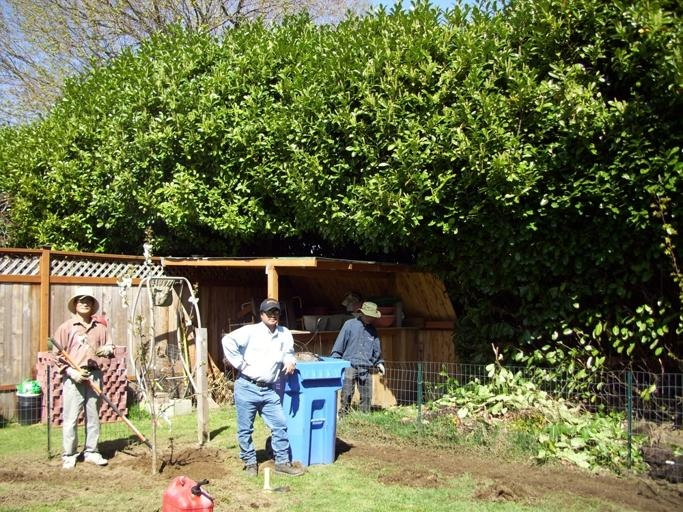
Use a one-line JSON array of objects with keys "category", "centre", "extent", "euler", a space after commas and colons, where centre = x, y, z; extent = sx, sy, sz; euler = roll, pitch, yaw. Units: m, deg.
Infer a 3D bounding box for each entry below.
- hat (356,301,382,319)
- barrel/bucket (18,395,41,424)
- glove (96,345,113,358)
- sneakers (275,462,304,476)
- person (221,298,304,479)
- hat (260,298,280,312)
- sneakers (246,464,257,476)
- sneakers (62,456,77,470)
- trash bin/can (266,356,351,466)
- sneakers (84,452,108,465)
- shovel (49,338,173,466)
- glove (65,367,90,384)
[{"category": "hat", "centre": [0.488, 0.937, 12.390], "extent": [0.288, 0.317, 0.562], "euler": [0, 7, -2]}, {"category": "barrel/bucket", "centre": [-5.377, 2.637, 12.111], "extent": [0.447, 0.467, 0.443], "euler": [1, -4, 0]}, {"category": "glove", "centre": [-3.345, 1.340, 9.924], "extent": [0.180, 0.141, 0.172], "euler": [-2, -3, -4]}, {"category": "sneakers", "centre": [-0.710, 2.907, 9.617], "extent": [0.383, 0.179, 0.171], "euler": [1, 0, -1]}, {"category": "person", "centre": [-1.096, 1.786, 9.523], "extent": [0.957, 2.342, 0.455], "euler": [-1, 7, -10]}, {"category": "hat", "centre": [-0.999, 0.691, 9.654], "extent": [0.220, 0.186, 0.372], "euler": [9, -15, -8]}, {"category": "sneakers", "centre": [-1.217, 2.875, 9.472], "extent": [0.162, 0.134, 0.175], "euler": [0, 7, -2]}, {"category": "sneakers", "centre": [-3.794, 2.859, 9.784], "extent": [0.187, 0.166, 0.325], "euler": [-3, 7, -22]}, {"category": "trash bin/can", "centre": [-0.399, 2.213, 9.925], "extent": [1.230, 1.935, 1.257], "euler": [4, -8, -24]}, {"category": "sneakers", "centre": [-3.459, 2.838, 9.928], "extent": [0.360, 0.160, 0.139], "euler": [9, 9, 6]}, {"category": "shovel", "centre": [-3.597, 2.297, 10.821], "extent": [0.095, 2.059, 0.135], "euler": [-27, 9, 33]}, {"category": "glove", "centre": [-3.640, 1.639, 9.663], "extent": [0.262, 0.214, 0.124], "euler": [12, 8, 20]}]
